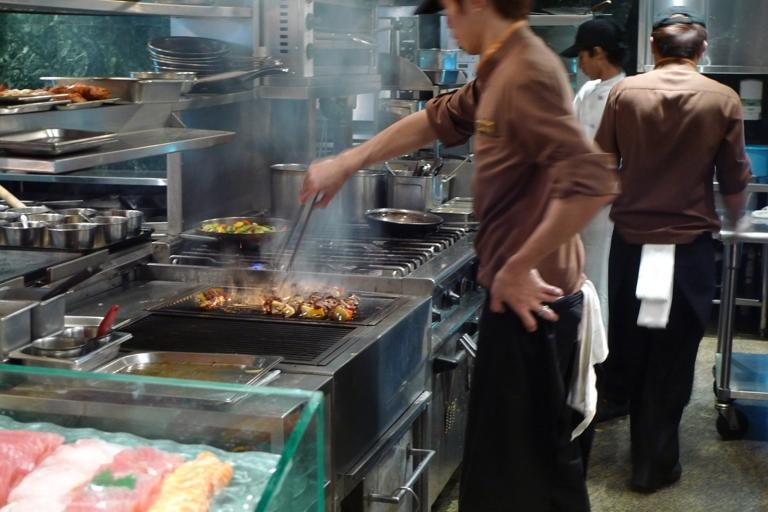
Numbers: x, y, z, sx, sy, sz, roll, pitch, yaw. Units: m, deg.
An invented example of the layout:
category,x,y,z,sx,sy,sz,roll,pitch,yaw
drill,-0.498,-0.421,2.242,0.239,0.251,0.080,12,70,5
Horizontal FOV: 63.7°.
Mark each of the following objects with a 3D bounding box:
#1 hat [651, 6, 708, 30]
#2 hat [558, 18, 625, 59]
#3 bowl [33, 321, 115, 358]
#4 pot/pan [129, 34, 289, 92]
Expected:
category,x,y,z,sx,sy,sz,roll,pitch,yaw
hat,1.553,-1.260,3.274,0.192,0.073,0.171,4,10,20
hat,1.298,-1.364,3.828,0.396,0.193,0.239,7,24,16
bowl,-0.850,0.228,1.675,0.105,0.026,0.122,5,12,12
pot/pan,-0.834,-0.829,2.822,0.588,0.124,0.383,4,13,16
